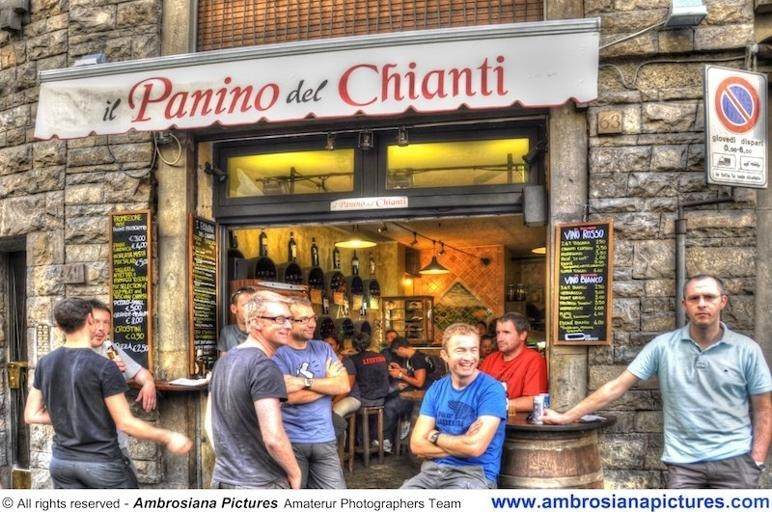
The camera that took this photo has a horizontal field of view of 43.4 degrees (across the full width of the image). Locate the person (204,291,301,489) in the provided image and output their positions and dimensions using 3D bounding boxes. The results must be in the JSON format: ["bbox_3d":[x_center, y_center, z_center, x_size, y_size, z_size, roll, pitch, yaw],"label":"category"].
[{"bbox_3d":[-0.982,0.983,7.089,0.662,1.456,0.337,-2,-7,-5],"label":"person"}]

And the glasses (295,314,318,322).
[{"bbox_3d":[-0.660,0.505,7.979,0.189,0.051,0.186,3,-14,-30],"label":"glasses"}]

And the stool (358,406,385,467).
[{"bbox_3d":[-0.140,1.983,10.797,0.265,0.613,0.654,-3,-7,-1],"label":"stool"}]

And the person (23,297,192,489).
[{"bbox_3d":[-2.197,1.049,7.380,1.171,1.465,0.394,-3,-7,-2],"label":"person"}]

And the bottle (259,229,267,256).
[{"bbox_3d":[-1.471,-0.161,11.685,0.103,0.319,0.328,-2,-7,-6],"label":"bottle"}]

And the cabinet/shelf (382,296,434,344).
[{"bbox_3d":[0.376,1.042,15.624,0.873,0.723,0.316,1,-2,7],"label":"cabinet/shelf"}]

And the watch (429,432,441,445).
[{"bbox_3d":[0.373,1.394,7.418,0.070,0.099,0.099,8,-11,44],"label":"watch"}]

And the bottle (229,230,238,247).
[{"bbox_3d":[-1.557,-0.169,9.920,0.040,0.130,0.156,1,-8,15],"label":"bottle"}]

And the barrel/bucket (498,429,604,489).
[{"bbox_3d":[1.336,1.670,7.866,0.593,0.513,0.575,-1,-16,0],"label":"barrel/bucket"}]

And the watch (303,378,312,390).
[{"bbox_3d":[-0.624,1.035,7.806,0.063,0.085,0.090,4,12,3],"label":"watch"}]

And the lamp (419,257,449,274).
[{"bbox_3d":[0.851,0.180,15.457,0.370,0.177,0.351,5,-6,-25],"label":"lamp"}]

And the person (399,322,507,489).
[{"bbox_3d":[0.528,1.167,7.526,0.791,1.275,0.373,-4,-7,6],"label":"person"}]

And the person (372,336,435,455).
[{"bbox_3d":[0.172,1.553,10.595,0.790,0.507,1.231,7,36,-1],"label":"person"}]

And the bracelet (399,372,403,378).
[{"bbox_3d":[0.184,1.408,11.519,0.059,0.052,0.014,5,-11,-15],"label":"bracelet"}]
